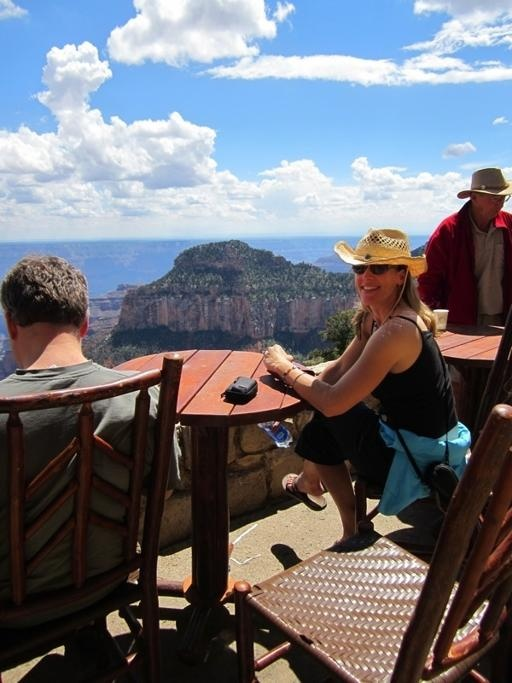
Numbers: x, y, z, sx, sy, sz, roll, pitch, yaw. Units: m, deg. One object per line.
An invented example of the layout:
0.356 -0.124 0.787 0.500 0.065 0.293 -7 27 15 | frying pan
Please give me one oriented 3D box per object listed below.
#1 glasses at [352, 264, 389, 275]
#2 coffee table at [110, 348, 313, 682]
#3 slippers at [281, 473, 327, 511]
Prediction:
0.347 -0.221 1.662 0.121 0.035 0.035 9 11 31 | glasses
-0.141 0.456 1.889 0.852 0.872 0.862 4 15 15 | coffee table
0.181 0.605 2.178 0.103 0.062 0.233 -22 43 -28 | slippers
